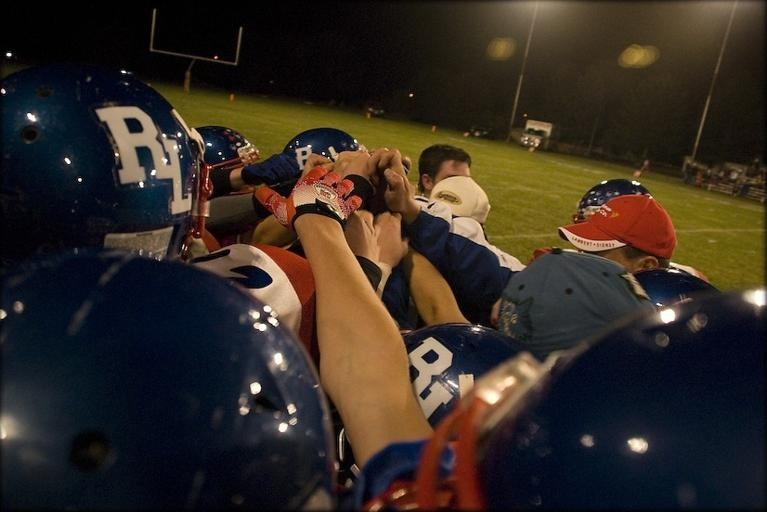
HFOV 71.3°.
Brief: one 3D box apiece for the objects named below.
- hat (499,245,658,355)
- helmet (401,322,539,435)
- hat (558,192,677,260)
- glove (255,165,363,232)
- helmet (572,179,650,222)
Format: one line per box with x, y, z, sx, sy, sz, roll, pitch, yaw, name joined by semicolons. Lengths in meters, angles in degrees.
0.583;0.096;1.540;0.448;0.237;0.299;1;26;9;hat
0.194;0.278;1.444;0.243;0.309;0.234;1;60;-58;helmet
1.100;-0.165;2.521;0.531;0.281;0.360;8;20;3;hat
-0.158;-0.153;1.442;0.190;0.072;0.249;14;18;9;glove
1.562;-0.400;3.647;0.359;0.299;0.509;-4;4;-14;helmet
